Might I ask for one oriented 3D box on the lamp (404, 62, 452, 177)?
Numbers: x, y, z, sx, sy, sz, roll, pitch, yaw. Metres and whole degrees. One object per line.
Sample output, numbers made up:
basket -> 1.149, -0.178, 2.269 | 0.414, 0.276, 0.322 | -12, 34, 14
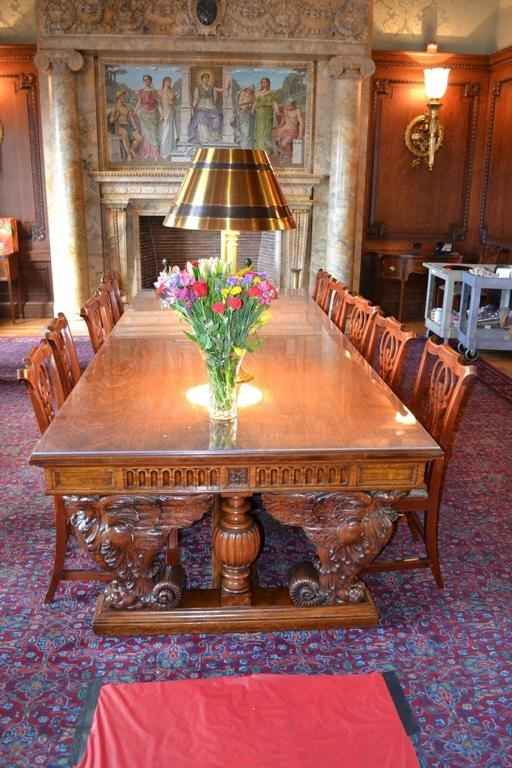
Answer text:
lamp -> 2.141, -3.317, 6.656 | 0.514, 1.130, 0.586 | 1, 7, 2

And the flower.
flower -> -0.105, -0.139, 1.674 | 0.332, 0.510, 0.290 | 5, 8, 28
